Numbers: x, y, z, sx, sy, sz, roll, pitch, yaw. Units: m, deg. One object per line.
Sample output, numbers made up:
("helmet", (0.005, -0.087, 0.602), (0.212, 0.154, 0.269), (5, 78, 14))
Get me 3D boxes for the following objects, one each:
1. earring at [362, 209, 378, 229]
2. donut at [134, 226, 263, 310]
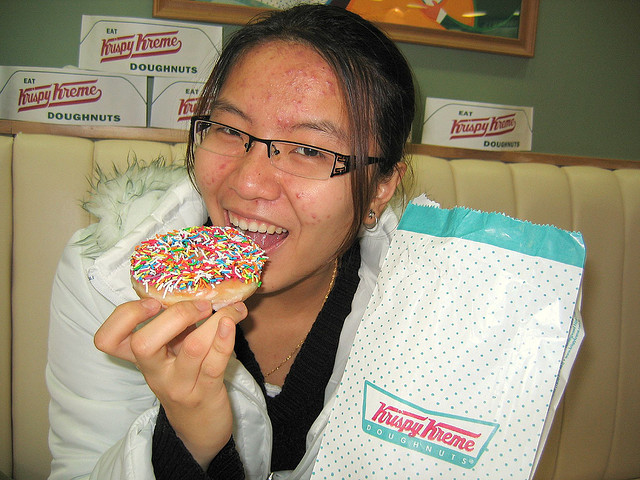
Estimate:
("earring", (0.174, -0.072, 1.583), (0.043, 0.053, 0.013), (-1, 3, -34))
("donut", (-0.342, 0.018, 1.360), (0.341, 0.201, 0.317), (-12, 17, -40))
